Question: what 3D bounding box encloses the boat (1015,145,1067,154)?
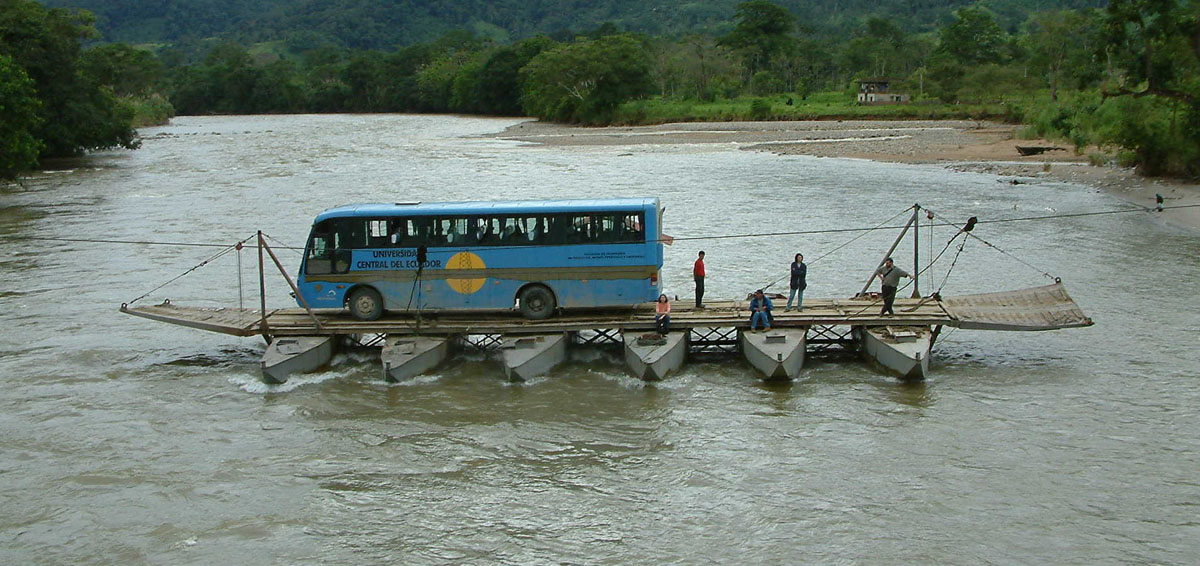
[{"bbox_3d":[56.341,-16.451,137.196,8.928,1.119,1.870,-2,4,-11],"label":"boat"}]
